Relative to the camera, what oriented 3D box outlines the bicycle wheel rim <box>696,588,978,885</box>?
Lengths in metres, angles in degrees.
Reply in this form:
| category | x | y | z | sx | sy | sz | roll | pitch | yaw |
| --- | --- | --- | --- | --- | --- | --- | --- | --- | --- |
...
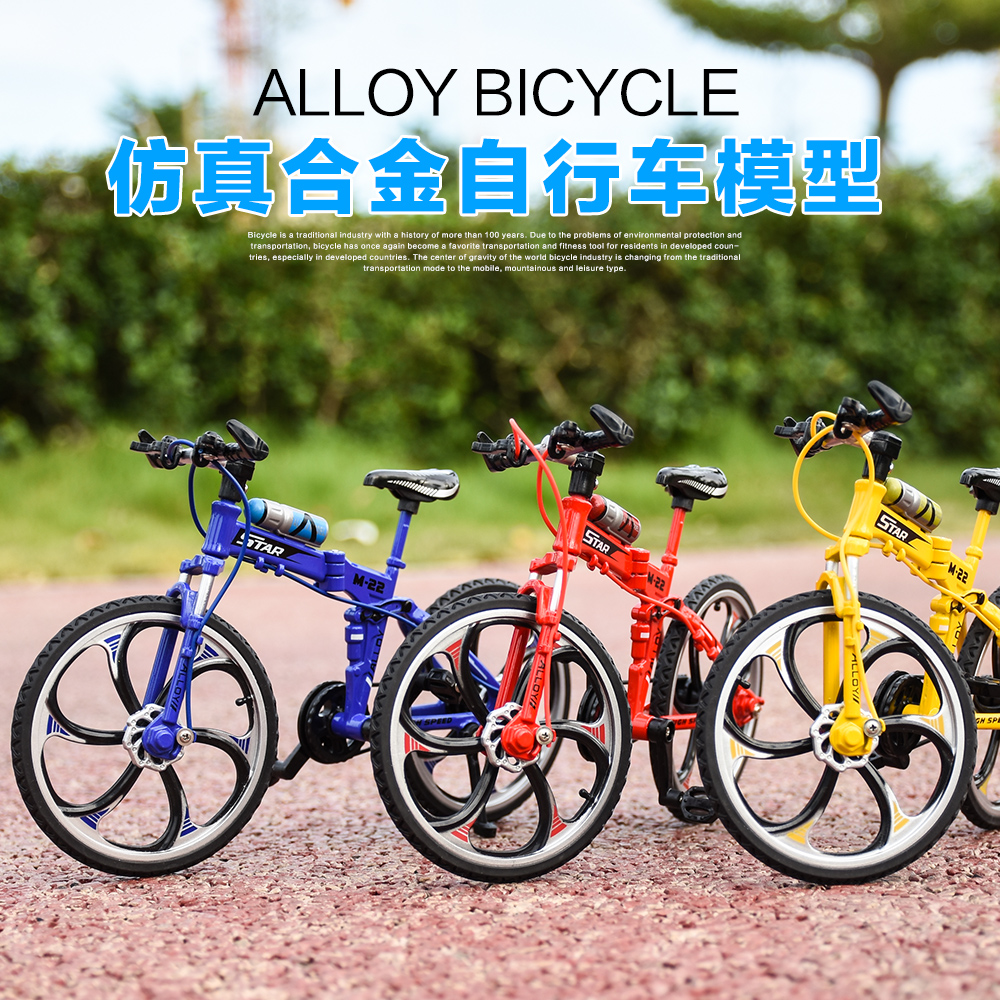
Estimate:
| category | x | y | z | sx | sy | sz | roll | pitch | yaw |
| --- | --- | --- | --- | --- | --- | --- | --- | --- | --- |
| bicycle wheel rim | 0.995 | 0.726 | 4.350 | 1.032 | 0.848 | 0.224 | 3 | -6 | -8 |

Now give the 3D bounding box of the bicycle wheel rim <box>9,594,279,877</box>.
| category | x | y | z | sx | sy | sz | roll | pitch | yaw |
| --- | --- | --- | --- | --- | --- | --- | --- | --- | --- |
| bicycle wheel rim | -1.026 | 0.694 | 3.955 | 0.722 | 0.825 | 0.253 | -6 | 8 | -40 |

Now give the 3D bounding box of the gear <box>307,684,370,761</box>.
| category | x | y | z | sx | sy | sz | roll | pitch | yaw |
| --- | --- | --- | --- | --- | --- | --- | --- | --- | --- |
| gear | -0.504 | 0.678 | 4.147 | 0.080 | 0.226 | 0.264 | -5 | 1 | 42 |

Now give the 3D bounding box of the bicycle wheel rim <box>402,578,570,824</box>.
| category | x | y | z | sx | sy | sz | roll | pitch | yaw |
| --- | --- | --- | --- | --- | --- | --- | --- | --- | --- |
| bicycle wheel rim | -0.201 | 0.649 | 4.232 | 0.832 | 0.707 | 0.210 | 5 | -1 | -43 |
